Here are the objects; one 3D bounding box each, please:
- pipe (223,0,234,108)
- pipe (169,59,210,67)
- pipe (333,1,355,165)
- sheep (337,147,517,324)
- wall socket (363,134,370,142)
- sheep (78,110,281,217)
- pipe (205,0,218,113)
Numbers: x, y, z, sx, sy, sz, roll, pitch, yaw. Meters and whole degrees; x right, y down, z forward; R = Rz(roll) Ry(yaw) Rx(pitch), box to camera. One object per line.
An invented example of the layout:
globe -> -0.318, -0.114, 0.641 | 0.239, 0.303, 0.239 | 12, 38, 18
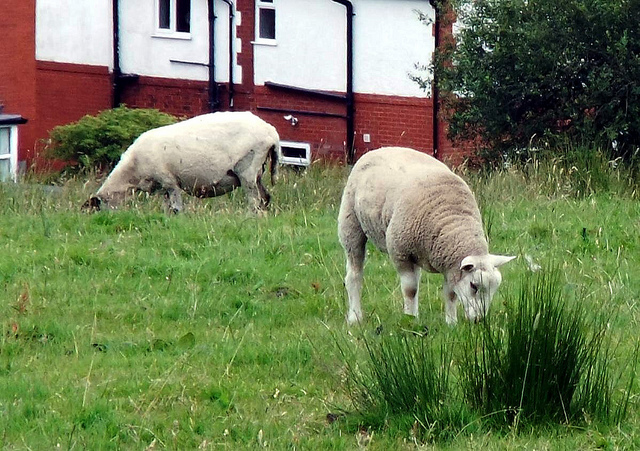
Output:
pipe -> -2.351, -4.498, 28.869 | 0.175, 2.775, 0.295 | 1, 3, 11
pipe -> -3.455, -4.349, 29.463 | 1.376, 0.235, 0.095 | 3, 4, 33
pipe -> 0.721, -3.515, 27.202 | 0.292, 3.947, 0.693 | 1, 3, 10
sheep -> 1.237, 0.318, 13.937 | 1.190, 2.411, 2.968 | -5, 13, -26
wall socket -> 1.150, -2.192, 27.327 | 0.167, 0.237, 0.028 | 0, -5, 12
sheep -> -2.279, -0.983, 19.689 | 3.902, 2.466, 1.512 | -7, 7, -7
pipe -> -2.866, -4.469, 29.024 | 0.272, 2.895, 0.256 | 2, 3, 22
